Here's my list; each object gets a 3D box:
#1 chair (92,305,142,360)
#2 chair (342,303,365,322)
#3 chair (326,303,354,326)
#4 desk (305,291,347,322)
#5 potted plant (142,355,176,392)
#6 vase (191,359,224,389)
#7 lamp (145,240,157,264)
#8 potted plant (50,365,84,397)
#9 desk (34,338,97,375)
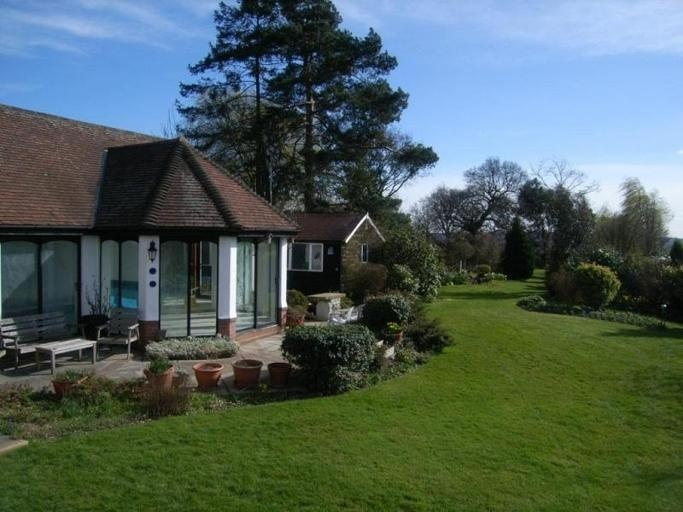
[{"bbox_3d":[-7.740,2.645,21.617,1.405,1.637,2.121,0,-2,-24],"label":"chair"},{"bbox_3d":[0.532,2.503,27.566,0.660,0.385,1.107,-3,4,-39],"label":"chair"},{"bbox_3d":[-0.086,2.610,27.183,0.974,0.560,1.838,-1,-2,14],"label":"chair"},{"bbox_3d":[-0.531,2.191,28.119,1.936,1.275,1.064,-2,7,-17],"label":"desk"},{"bbox_3d":[-5.390,3.529,18.425,0.883,0.912,0.905,-3,0,27],"label":"potted plant"},{"bbox_3d":[-4.081,3.610,18.925,0.774,0.510,0.765,0,1,13],"label":"vase"},{"bbox_3d":[-6.663,-0.193,21.946,0.338,0.804,0.098,0,-2,-17],"label":"lamp"},{"bbox_3d":[-7.782,3.637,17.723,0.632,0.386,0.928,1,-4,-14],"label":"potted plant"},{"bbox_3d":[-8.856,3.447,19.728,1.099,0.761,1.517,1,3,25],"label":"desk"}]
